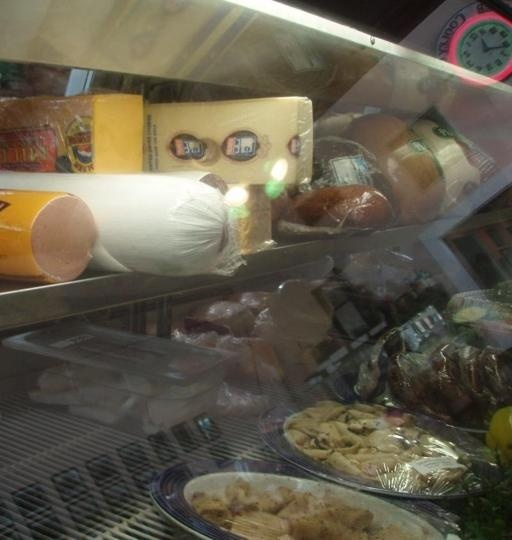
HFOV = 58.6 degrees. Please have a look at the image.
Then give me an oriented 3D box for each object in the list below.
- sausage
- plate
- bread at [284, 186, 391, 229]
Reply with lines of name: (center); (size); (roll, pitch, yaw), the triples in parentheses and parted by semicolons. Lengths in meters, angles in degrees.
sausage: (-0.150, -0.045, 0.530); (0.228, 0.124, 0.066); (2, -45, 2)
plate: (0.196, 0.289, 0.681); (0.318, 0.040, 0.264); (5, 3, 3)
bread: (0.133, -0.106, 0.775); (0.164, 0.066, 0.045); (-1, -32, 0)
